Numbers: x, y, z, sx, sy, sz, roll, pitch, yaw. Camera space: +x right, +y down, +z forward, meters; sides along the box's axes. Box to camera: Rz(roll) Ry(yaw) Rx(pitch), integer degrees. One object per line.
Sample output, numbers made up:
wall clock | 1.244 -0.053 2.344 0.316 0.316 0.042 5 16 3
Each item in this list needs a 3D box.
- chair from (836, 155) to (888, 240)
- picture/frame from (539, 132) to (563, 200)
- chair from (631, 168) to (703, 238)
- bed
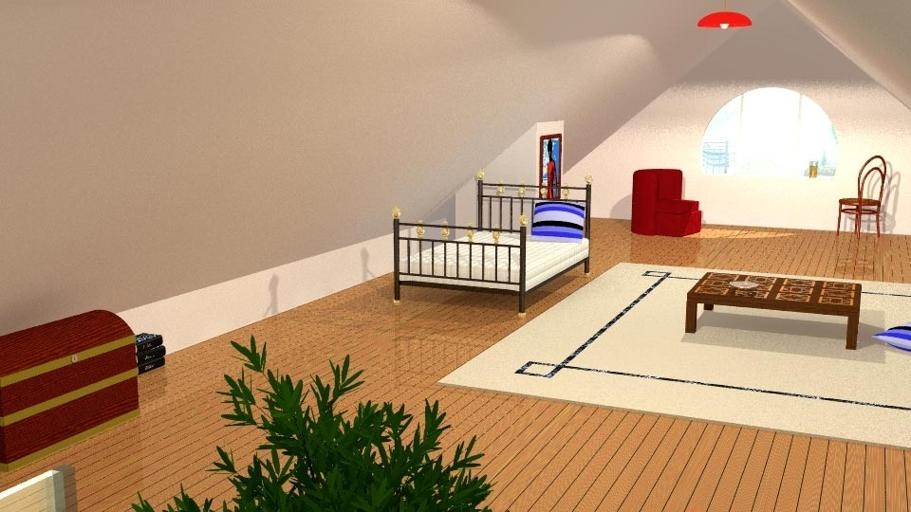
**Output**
chair | 8.466 -1.257 12.406 1.090 1.635 0.779 -2 8 -18
picture/frame | 1.817 -1.774 11.487 0.142 1.446 1.049 7 14 24
chair | 4.618 -1.196 13.086 1.465 1.354 1.335 1 10 15
bed | 0.771 -0.200 9.484 2.088 1.735 2.922 5 12 27
